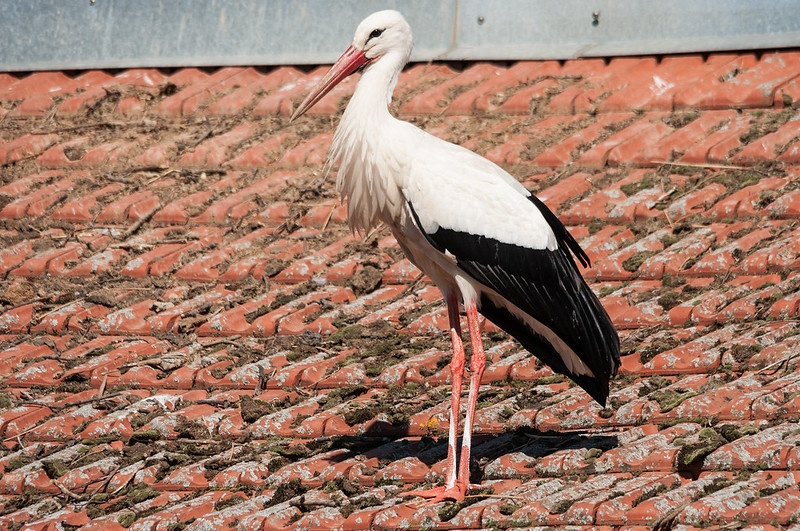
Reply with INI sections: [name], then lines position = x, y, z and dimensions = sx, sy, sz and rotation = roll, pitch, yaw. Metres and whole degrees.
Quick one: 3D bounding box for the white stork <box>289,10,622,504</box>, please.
[white stork]
position = 0.495, -0.289, 12.769
dimensions = 1.712, 3.378, 1.452
rotation = -15, 12, -1
